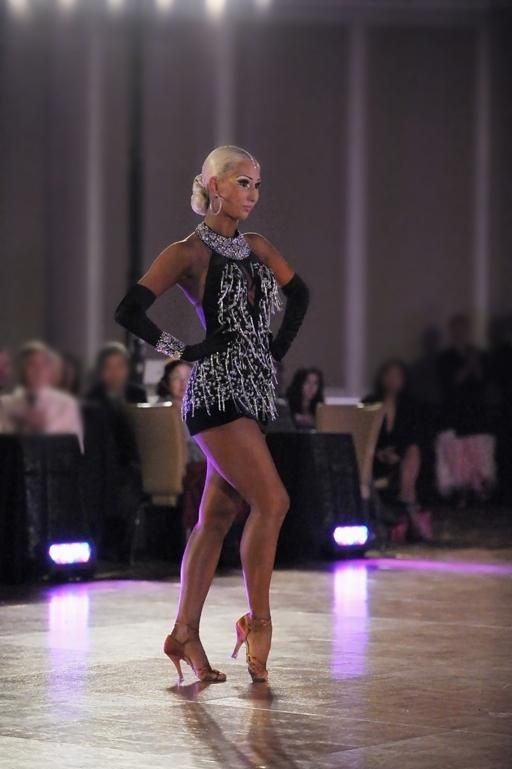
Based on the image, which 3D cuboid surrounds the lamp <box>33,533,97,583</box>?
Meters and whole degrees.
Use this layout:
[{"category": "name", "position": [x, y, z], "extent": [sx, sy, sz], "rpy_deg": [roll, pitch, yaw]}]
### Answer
[{"category": "lamp", "position": [-0.890, 0.821, 4.574], "extent": [0.246, 0.191, 0.083], "rpy_deg": [4, -3, -32]}]

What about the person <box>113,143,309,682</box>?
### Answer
[{"category": "person", "position": [-0.119, 0.058, 2.508], "extent": [0.438, 1.409, 0.402], "rpy_deg": [1, 2, 6]}]

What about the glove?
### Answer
[{"category": "glove", "position": [-0.197, -0.151, 2.425], "extent": [0.290, 0.191, 0.144], "rpy_deg": [1, 1, 13]}]

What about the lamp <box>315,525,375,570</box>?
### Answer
[{"category": "lamp", "position": [0.508, 0.869, 5.321], "extent": [0.307, 0.184, 0.204], "rpy_deg": [0, 1, -10]}]

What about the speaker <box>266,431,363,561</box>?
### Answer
[{"category": "speaker", "position": [0.351, 0.638, 5.608], "extent": [0.664, 0.637, 1.038], "rpy_deg": [-1, -4, 9]}]
